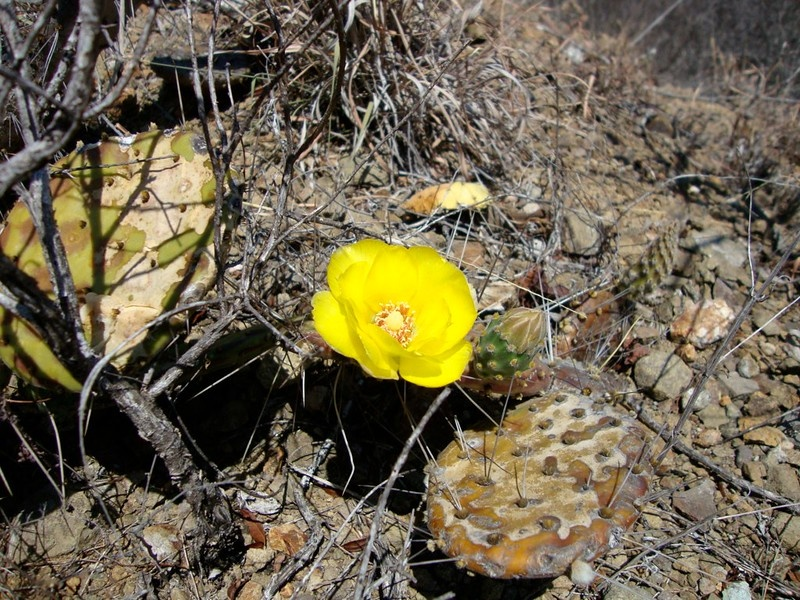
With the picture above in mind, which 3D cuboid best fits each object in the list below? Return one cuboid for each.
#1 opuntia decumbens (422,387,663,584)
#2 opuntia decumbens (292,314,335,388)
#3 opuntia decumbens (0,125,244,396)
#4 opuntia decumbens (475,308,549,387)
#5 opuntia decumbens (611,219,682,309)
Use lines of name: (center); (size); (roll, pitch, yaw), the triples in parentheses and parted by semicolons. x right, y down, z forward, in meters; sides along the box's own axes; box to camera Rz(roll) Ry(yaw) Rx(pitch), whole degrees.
opuntia decumbens: (0.409, 0.538, 2.285); (0.582, 0.271, 0.682); (33, 42, 27)
opuntia decumbens: (-0.277, 0.146, 2.380); (0.046, 0.138, 0.127); (-1, 64, -27)
opuntia decumbens: (-0.875, -0.141, 2.314); (0.662, 0.559, 0.651); (13, 36, 4)
opuntia decumbens: (0.334, 0.135, 2.328); (0.213, 0.232, 0.170); (9, 35, -2)
opuntia decumbens: (0.912, -0.127, 2.851); (0.174, 0.333, 0.133); (7, 34, -2)
